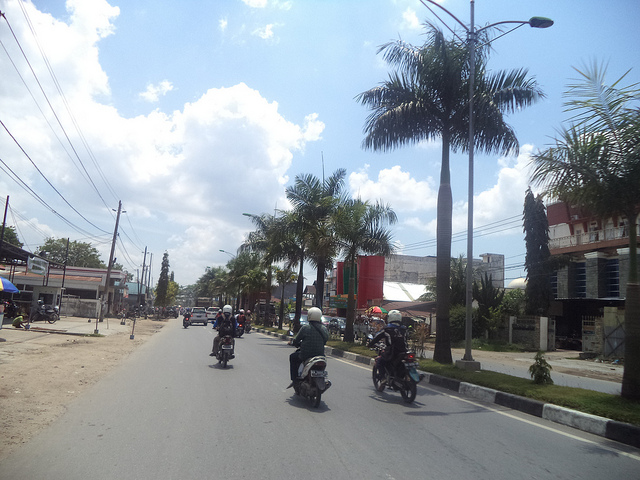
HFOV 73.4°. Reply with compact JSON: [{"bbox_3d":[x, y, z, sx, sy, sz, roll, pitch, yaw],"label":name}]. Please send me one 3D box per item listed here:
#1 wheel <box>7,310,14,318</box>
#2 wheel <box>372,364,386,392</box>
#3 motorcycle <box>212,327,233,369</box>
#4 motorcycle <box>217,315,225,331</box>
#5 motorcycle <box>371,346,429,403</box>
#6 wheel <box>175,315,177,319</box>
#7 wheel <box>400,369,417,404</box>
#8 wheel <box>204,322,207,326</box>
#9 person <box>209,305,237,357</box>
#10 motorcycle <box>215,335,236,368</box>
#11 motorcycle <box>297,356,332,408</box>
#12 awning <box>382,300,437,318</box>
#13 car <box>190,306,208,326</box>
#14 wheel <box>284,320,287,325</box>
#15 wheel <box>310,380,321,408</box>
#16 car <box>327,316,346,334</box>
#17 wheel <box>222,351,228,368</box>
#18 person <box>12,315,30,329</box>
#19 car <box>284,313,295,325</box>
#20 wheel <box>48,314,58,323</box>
[{"bbox_3d":[-22.178,5.286,30.700,0.446,0.544,0.411,3,-13,1],"label":"wheel"},{"bbox_3d":[1.588,3.841,11.942,0.513,0.621,0.544,2,-1,0],"label":"wheel"},{"bbox_3d":[-3.316,3.734,14.853,0.513,1.323,0.405,-2,-12,23],"label":"motorcycle"},{"bbox_3d":[-3.461,2.866,14.834,0.169,0.486,0.336,11,-15,-36],"label":"motorcycle"},{"bbox_3d":[2.037,3.452,11.628,0.847,1.554,2.403,3,-8,-18],"label":"motorcycle"},{"bbox_3d":[-27.535,14.830,81.921,0.285,0.389,0.344,-4,-12,24],"label":"wheel"},{"bbox_3d":[2.211,3.671,10.736,0.175,0.881,0.728,5,0,-15],"label":"wheel"},{"bbox_3d":[-13.580,9.989,50.903,0.305,0.360,2.314,6,-16,-13],"label":"wheel"},{"bbox_3d":[-3.447,2.969,14.860,0.863,1.153,1.648,2,-9,-5],"label":"person"},{"bbox_3d":[-3.370,3.583,15.454,0.572,1.254,2.007,6,4,-13],"label":"motorcycle"},{"bbox_3d":[-0.160,3.251,9.903,0.423,1.118,0.940,9,-14,-27],"label":"motorcycle"},{"bbox_3d":[7.959,6.138,37.804,3.338,1.284,3.931,3,-15,-20],"label":"awning"},{"bbox_3d":[-14.171,8.927,50.330,1.831,2.055,2.103,6,-14,-11],"label":"car"},{"bbox_3d":[-5.142,12.254,63.679,0.397,0.842,0.799,1,-7,0],"label":"wheel"},{"bbox_3d":[-0.110,3.454,9.613,0.127,0.581,0.384,9,-13,-28],"label":"wheel"},{"bbox_3d":[1.364,7.296,36.432,0.929,0.949,1.694,3,-15,-17],"label":"car"},{"bbox_3d":[-3.251,4.082,14.629,0.151,0.535,0.244,7,-12,-21],"label":"wheel"},{"bbox_3d":[-18.416,5.031,26.291,0.611,0.844,0.540,2,23,-10],"label":"person"},{"bbox_3d":[-3.976,10.093,56.173,1.453,1.483,2.808,3,-15,-18],"label":"car"},{"bbox_3d":[-19.168,5.627,30.728,0.508,0.650,1.073,10,-16,-28],"label":"wheel"}]
